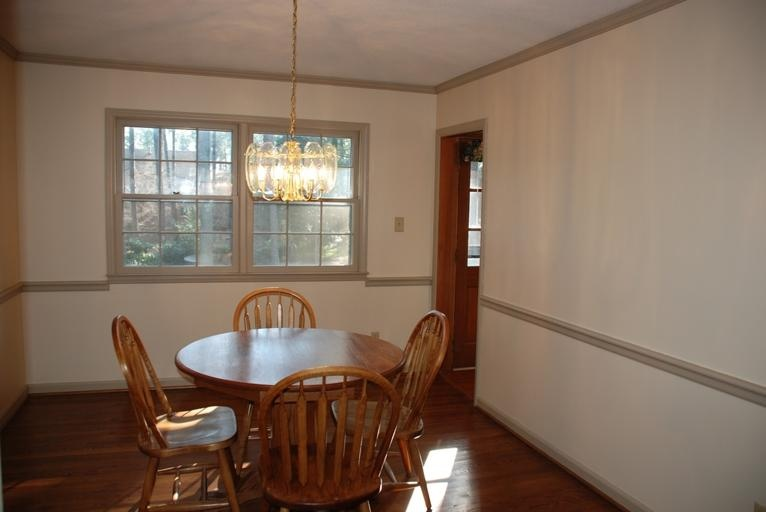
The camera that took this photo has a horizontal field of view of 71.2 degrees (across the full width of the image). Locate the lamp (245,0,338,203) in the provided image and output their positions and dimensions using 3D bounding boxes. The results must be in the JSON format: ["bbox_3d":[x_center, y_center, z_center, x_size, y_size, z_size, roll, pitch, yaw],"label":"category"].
[{"bbox_3d":[-0.673,-1.085,4.279,0.872,1.286,2.028,-2,5,-14],"label":"lamp"}]
